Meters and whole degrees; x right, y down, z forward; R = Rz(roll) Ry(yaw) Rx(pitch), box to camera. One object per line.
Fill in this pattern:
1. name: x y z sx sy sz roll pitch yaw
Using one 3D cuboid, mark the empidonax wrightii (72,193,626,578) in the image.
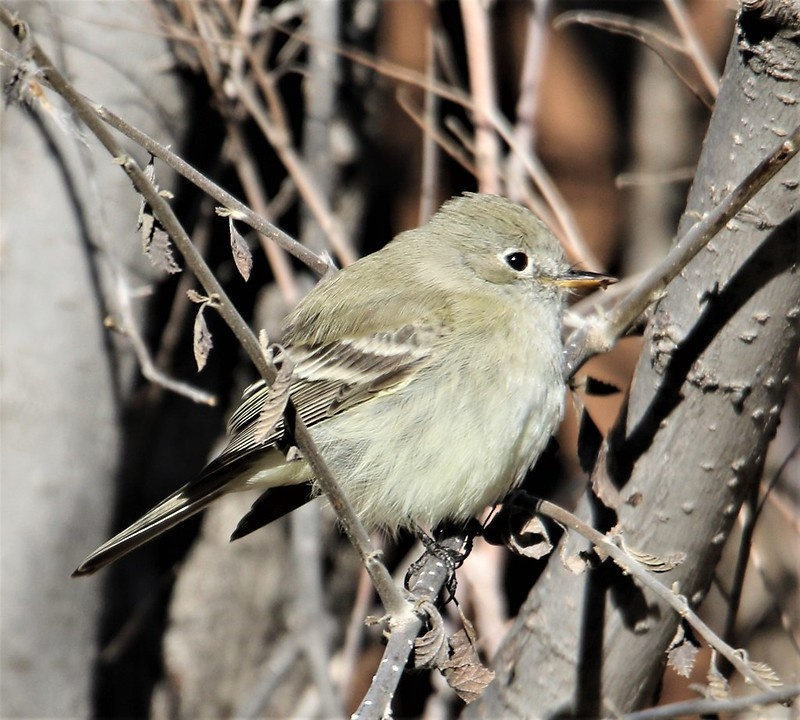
1. empidonax wrightii: 0.123 0.010 3.469 0.947 0.857 0.749 14 31 13
